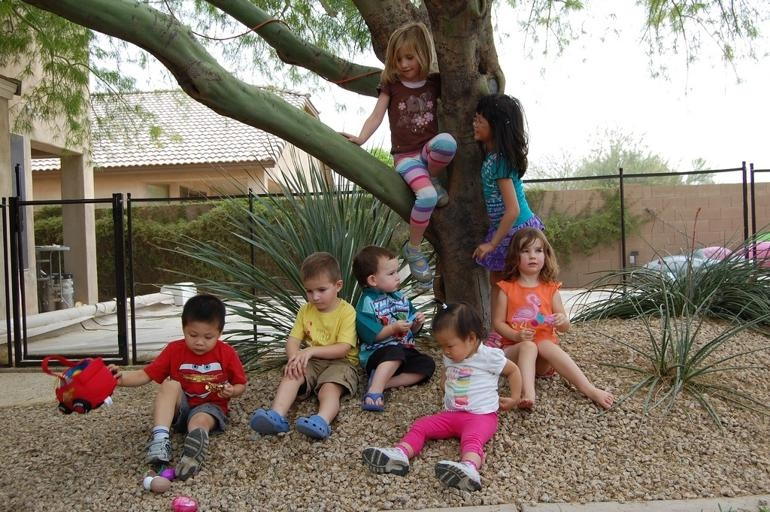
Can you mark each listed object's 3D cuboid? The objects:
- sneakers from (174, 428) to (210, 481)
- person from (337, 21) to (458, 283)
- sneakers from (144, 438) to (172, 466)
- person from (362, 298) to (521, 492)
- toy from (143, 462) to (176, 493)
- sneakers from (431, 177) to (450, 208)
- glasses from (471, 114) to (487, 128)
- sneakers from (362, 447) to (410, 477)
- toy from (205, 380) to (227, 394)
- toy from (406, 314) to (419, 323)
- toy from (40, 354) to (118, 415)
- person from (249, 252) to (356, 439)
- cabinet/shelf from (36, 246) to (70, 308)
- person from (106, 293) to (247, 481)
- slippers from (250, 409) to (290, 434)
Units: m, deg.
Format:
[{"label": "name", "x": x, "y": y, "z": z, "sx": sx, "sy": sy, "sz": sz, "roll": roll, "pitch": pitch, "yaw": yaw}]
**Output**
[{"label": "sneakers", "x": -1.319, "y": 1.346, "z": 4.215, "sx": 0.148, "sy": 0.348, "sz": 0.155, "roll": 17, "pitch": -25, "yaw": 3}, {"label": "person", "x": 0.201, "y": -0.815, "z": 4.973, "sx": 0.772, "sy": 2.114, "sz": 0.516, "roll": 0, "pitch": 10, "yaw": 6}, {"label": "sneakers", "x": -1.570, "y": 1.335, "z": 4.167, "sx": 0.178, "sy": 0.192, "sz": 0.128, "roll": -6, "pitch": 11, "yaw": -25}, {"label": "person", "x": 0.427, "y": 0.870, "z": 4.227, "sx": 0.813, "sy": 1.086, "sz": 1.251, "roll": -2, "pitch": 2, "yaw": 28}, {"label": "toy", "x": -1.526, "y": 1.479, "z": 4.095, "sx": 0.206, "sy": 0.115, "sz": 0.216, "roll": -1, "pitch": 10, "yaw": 3}, {"label": "sneakers", "x": 0.466, "y": -0.528, "z": 4.965, "sx": 0.098, "sy": 0.290, "sz": 0.119, "roll": -13, "pitch": -19, "yaw": 11}, {"label": "glasses", "x": 0.758, "y": -1.071, "z": 4.805, "sx": 0.083, "sy": 0.122, "sz": 0.115, "roll": -3, "pitch": 2, "yaw": 19}, {"label": "sneakers", "x": 0.012, "y": 1.356, "z": 4.046, "sx": 0.312, "sy": 0.157, "sz": 0.174, "roll": 21, "pitch": 11, "yaw": 3}, {"label": "toy", "x": -1.258, "y": 0.956, "z": 4.464, "sx": 0.124, "sy": 0.089, "sz": 0.048, "roll": 7, "pitch": -4, "yaw": 3}, {"label": "toy", "x": 0.226, "y": 0.488, "z": 4.872, "sx": 0.059, "sy": 0.017, "sz": 0.058, "roll": 2, "pitch": 36, "yaw": 48}, {"label": "toy", "x": -2.140, "y": 0.901, "z": 4.230, "sx": 0.456, "sy": 0.467, "sz": 0.223, "roll": -1, "pitch": 10, "yaw": 5}, {"label": "person", "x": -0.580, "y": 0.630, "z": 4.524, "sx": 0.717, "sy": 1.238, "sz": 0.765, "roll": -1, "pitch": 10, "yaw": 2}, {"label": "cabinet/shelf", "x": -5.397, "y": 0.362, "z": 10.013, "sx": 0.477, "sy": 0.973, "sz": 0.454, "roll": -3, "pitch": -3, "yaw": -24}, {"label": "person", "x": -1.466, "y": 0.853, "z": 4.228, "sx": 0.885, "sy": 1.072, "sz": 1.052, "roll": 5, "pitch": 1, "yaw": -13}, {"label": "slippers", "x": -0.837, "y": 1.173, "z": 4.374, "sx": 0.264, "sy": 0.152, "sz": 0.127, "roll": 24, "pitch": 18, "yaw": -24}]
